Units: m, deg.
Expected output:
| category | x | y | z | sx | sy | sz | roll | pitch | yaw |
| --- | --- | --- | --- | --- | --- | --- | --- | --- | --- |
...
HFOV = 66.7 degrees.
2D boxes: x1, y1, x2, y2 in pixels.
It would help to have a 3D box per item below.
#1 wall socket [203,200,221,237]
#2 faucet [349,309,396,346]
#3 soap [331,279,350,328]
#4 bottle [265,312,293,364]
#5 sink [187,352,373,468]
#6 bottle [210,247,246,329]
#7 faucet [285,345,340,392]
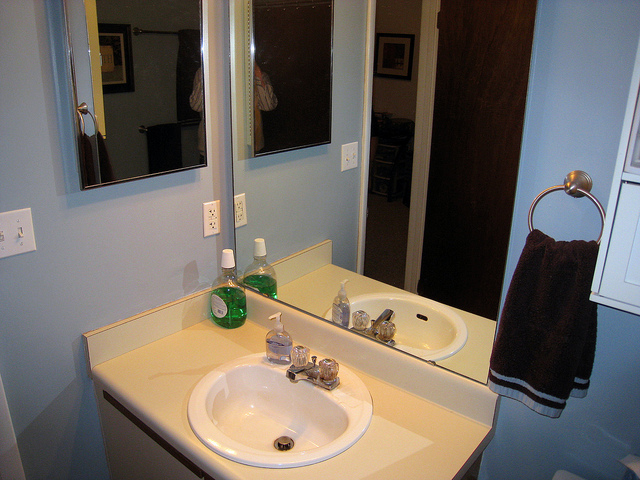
| category | x | y | z | sx | sy | sz | roll | pitch | yaw |
| --- | --- | --- | --- | --- | --- | --- | --- | --- | --- |
| wall socket | -0.408 | -0.080 | 1.821 | 0.017 | 0.128 | 0.078 | 16 | 26 | 34 |
| faucet | 0.182 | 0.284 | 1.583 | 0.179 | 0.083 | 0.062 | 19 | 27 | 35 |
| soap | 0.070 | 0.218 | 1.644 | 0.054 | 0.132 | 0.080 | -1 | 22 | -5 |
| bottle | -0.134 | 0.322 | 1.612 | 0.093 | 0.196 | 0.070 | 6 | 21 | 15 |
| sink | -0.175 | 0.550 | 1.488 | 0.354 | 0.145 | 0.339 | 22 | 31 | 35 |
| bottle | -0.358 | 0.166 | 1.838 | 0.127 | 0.311 | 0.166 | -18 | 29 | -40 |
| faucet | -0.016 | 0.408 | 1.535 | 0.163 | 0.109 | 0.113 | 15 | 23 | 28 |
